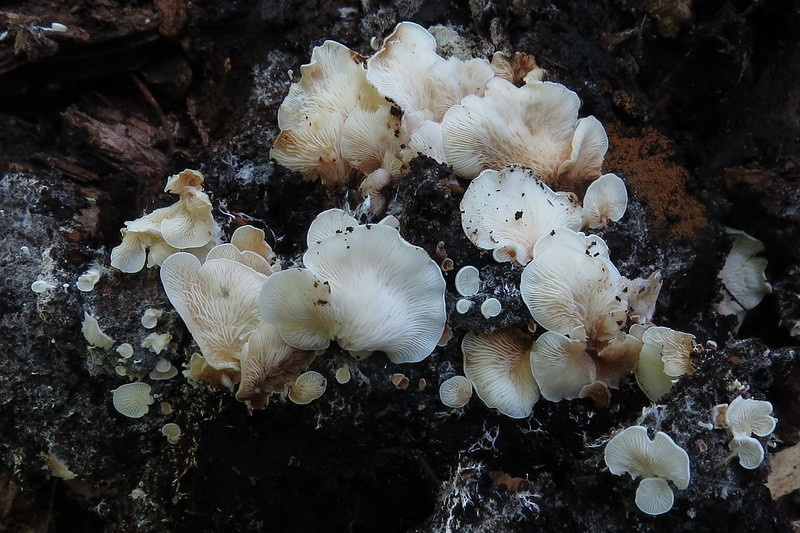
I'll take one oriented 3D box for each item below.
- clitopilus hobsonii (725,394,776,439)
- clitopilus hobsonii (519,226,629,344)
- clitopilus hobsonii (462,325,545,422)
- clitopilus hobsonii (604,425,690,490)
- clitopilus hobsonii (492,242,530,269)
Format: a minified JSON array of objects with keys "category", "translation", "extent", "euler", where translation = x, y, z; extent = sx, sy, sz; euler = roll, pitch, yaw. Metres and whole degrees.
[{"category":"clitopilus hobsonii","translation":[3.704,1.603,9.142],"extent":[0.530,0.181,0.433],"euler":[0,82,-1]},{"category":"clitopilus hobsonii","translation":[1.890,0.263,9.269],"extent":[1.215,0.358,1.037],"euler":[32,82,4]},{"category":"clitopilus hobsonii","translation":[1.094,1.135,9.372],"extent":[0.706,0.640,1.077],"euler":[-1,100,17]},{"category":"clitopilus hobsonii","translation":[2.604,2.083,9.106],"extent":[0.679,0.817,0.723],"euler":[-8,103,-29]},{"category":"clitopilus hobsonii","translation":[1.182,-0.117,9.337],"extent":[0.277,0.117,0.280],"euler":[16,86,-8]}]
